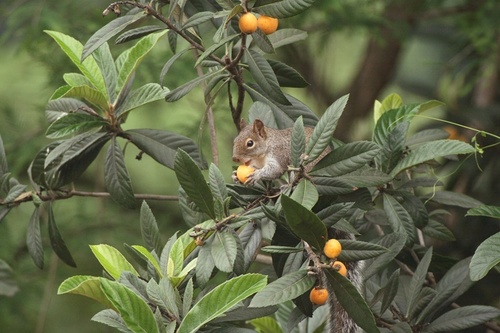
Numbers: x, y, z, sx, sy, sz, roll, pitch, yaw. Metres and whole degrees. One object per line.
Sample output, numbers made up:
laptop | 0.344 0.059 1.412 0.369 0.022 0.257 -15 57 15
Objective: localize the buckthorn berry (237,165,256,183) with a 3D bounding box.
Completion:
buckthorn berry | -0.031 0.040 4.138 0.082 0.088 0.115 -25 37 35

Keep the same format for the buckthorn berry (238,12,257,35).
buckthorn berry | -0.017 -0.810 3.748 0.112 0.149 0.122 5 30 -1

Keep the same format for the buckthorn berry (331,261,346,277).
buckthorn berry | 0.481 0.547 3.696 0.057 0.138 0.120 -3 44 14

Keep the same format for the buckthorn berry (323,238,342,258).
buckthorn berry | 0.433 0.437 3.664 0.085 0.113 0.096 2 1 4

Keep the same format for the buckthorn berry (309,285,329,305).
buckthorn berry | 0.365 0.700 3.695 0.096 0.109 0.099 2 -12 -9

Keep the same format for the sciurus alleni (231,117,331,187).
sciurus alleni | 0.242 -0.124 4.920 0.812 0.483 0.399 -8 6 -33

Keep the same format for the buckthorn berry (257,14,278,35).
buckthorn berry | 0.091 -0.792 3.791 0.097 0.124 0.099 3 16 9
